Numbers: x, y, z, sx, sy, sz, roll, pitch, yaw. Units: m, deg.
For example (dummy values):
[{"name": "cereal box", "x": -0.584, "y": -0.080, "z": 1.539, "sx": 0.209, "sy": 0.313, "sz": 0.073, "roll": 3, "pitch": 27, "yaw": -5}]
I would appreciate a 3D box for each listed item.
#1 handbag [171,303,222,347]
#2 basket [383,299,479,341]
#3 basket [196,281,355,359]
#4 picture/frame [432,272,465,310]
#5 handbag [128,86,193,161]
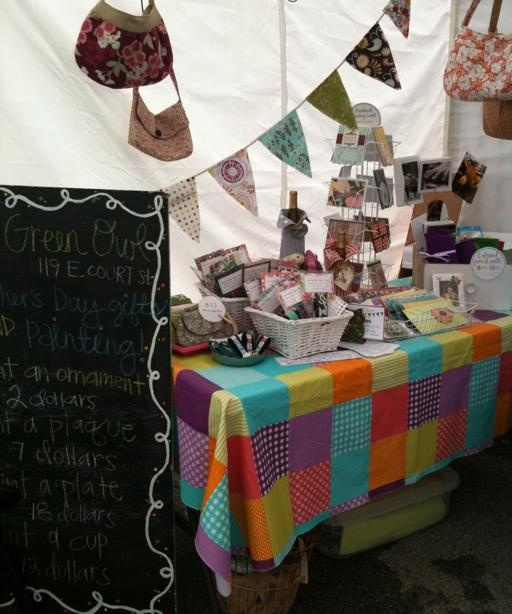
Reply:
[{"name": "handbag", "x": -0.190, "y": 0.054, "z": 1.707, "sx": 0.122, "sy": 0.098, "sz": 0.155, "roll": 3, "pitch": 6, "yaw": 41}, {"name": "basket", "x": 0.564, "y": 0.033, "z": 1.894, "sx": 0.271, "sy": 0.081, "sz": 0.143, "roll": -4, "pitch": 8, "yaw": -31}, {"name": "basket", "x": 0.109, "y": 0.005, "z": 1.681, "sx": 0.254, "sy": 0.120, "sz": 0.342, "roll": -10, "pitch": 10, "yaw": -28}, {"name": "picture/frame", "x": 0.724, "y": -0.058, "z": 2.110, "sx": 0.159, "sy": 0.186, "sz": 0.022, "roll": 0, "pitch": -13, "yaw": -13}, {"name": "handbag", "x": -0.315, "y": -0.597, "z": 1.824, "sx": 0.171, "sy": 0.222, "sz": 0.223, "roll": -5, "pitch": 19, "yaw": 5}]
